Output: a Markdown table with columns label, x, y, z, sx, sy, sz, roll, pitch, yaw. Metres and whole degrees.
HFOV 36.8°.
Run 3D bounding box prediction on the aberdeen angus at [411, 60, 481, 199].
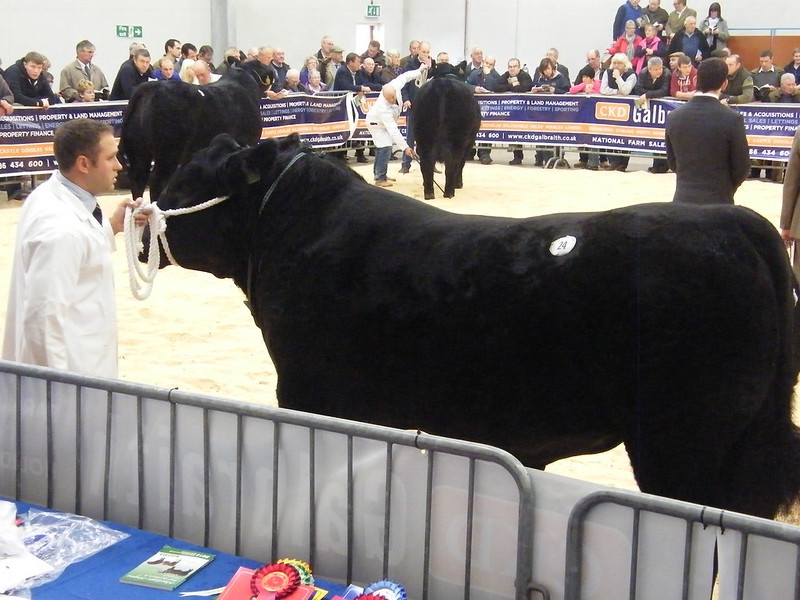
| label | x | y | z | sx | sy | sz | roll | pitch | yaw |
| --- | --- | --- | --- | --- | --- | --- | --- | --- | --- |
| aberdeen angus | 0.533 | -2.019 | 14.290 | 1.134 | 1.382 | 1.079 | 6 | 17 | 17 |

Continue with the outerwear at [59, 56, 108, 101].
| label | x | y | z | sx | sy | sz | roll | pitch | yaw |
| --- | --- | --- | --- | --- | --- | --- | --- | --- | --- |
| outerwear | -3.927 | -2.760 | 15.087 | 0.708 | 0.479 | 0.363 | -9 | 13 | -39 |
